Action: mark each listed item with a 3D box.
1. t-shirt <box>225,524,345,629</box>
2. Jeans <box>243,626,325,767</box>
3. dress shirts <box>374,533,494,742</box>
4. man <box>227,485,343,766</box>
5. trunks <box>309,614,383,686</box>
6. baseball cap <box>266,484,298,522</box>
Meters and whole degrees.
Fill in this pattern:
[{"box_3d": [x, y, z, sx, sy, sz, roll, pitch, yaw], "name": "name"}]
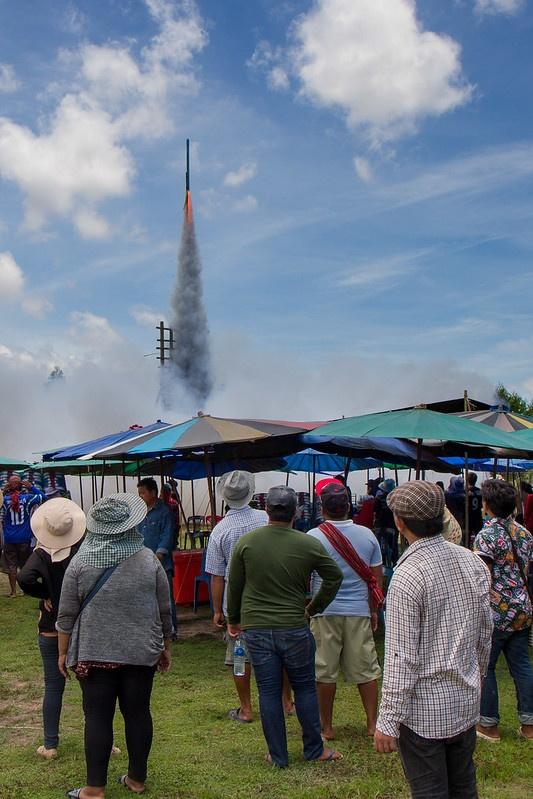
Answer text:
[{"box_3d": [0.106, 1.107, 4.798, 0.730, 0.610, 0.388, 0, -10, 5], "name": "t-shirt"}, {"box_3d": [0.116, 1.730, 4.718, 0.438, 0.921, 0.332, -4, -3, -6], "name": "Jeans"}, {"box_3d": [0.719, 0.980, 3.235, 0.599, 0.815, 0.205, 4, -7, -36], "name": "dress shirts"}, {"box_3d": [0.130, 1.411, 4.817, 0.791, 1.643, 0.453, 0, -4, 1], "name": "man"}, {"box_3d": [0.522, 1.649, 5.253, 0.499, 0.533, 0.305, -3, 1, -1], "name": "trunks"}, {"box_3d": [0.087, 0.643, 4.750, 0.154, 0.134, 0.238, 0, 11, 3], "name": "baseball cap"}]
